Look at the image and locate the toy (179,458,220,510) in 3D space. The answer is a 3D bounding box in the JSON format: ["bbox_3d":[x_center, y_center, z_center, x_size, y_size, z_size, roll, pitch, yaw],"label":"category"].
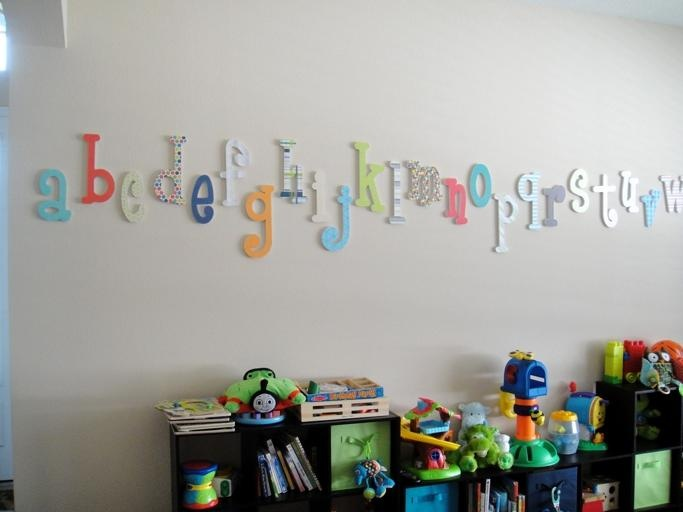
[{"bbox_3d":[-0.689,1.117,2.981,0.172,0.180,0.176,0,0,5],"label":"toy"}]

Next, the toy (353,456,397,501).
[{"bbox_3d":[0.178,1.160,3.072,0.182,0.253,0.214,0,-2,36],"label":"toy"}]

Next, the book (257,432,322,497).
[{"bbox_3d":[-0.256,1.050,3.008,0.089,0.292,0.273,-10,-6,-24],"label":"book"}]

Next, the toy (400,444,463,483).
[{"bbox_3d":[0.495,1.073,3.234,0.191,0.112,0.205,-1,0,-11],"label":"toy"}]

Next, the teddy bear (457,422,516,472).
[{"bbox_3d":[0.792,1.055,3.384,0.281,0.184,0.414,-4,2,5],"label":"teddy bear"}]

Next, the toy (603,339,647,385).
[{"bbox_3d":[1.732,0.657,3.691,0.229,0.244,0.084,2,-6,-4],"label":"toy"}]

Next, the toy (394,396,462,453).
[{"bbox_3d":[0.468,0.910,3.275,0.316,0.182,0.230,-8,-12,38],"label":"toy"}]

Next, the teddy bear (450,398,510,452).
[{"bbox_3d":[0.771,0.931,3.444,0.351,0.400,0.193,6,-28,-5],"label":"teddy bear"}]
